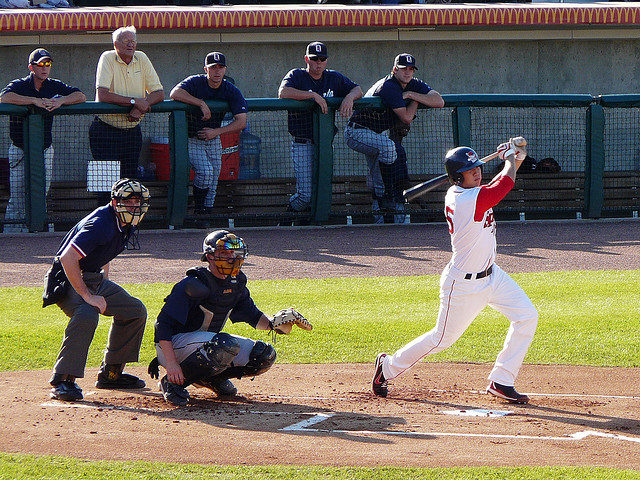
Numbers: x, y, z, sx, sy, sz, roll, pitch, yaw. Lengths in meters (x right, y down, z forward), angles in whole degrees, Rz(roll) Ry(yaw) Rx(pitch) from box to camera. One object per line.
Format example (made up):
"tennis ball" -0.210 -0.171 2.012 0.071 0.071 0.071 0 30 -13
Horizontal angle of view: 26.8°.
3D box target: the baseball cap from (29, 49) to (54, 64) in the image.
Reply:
"baseball cap" -3.818 -2.486 18.409 0.324 0.216 0.427 -6 9 -37

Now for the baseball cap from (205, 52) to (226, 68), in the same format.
"baseball cap" -1.434 -2.465 18.515 0.243 0.159 0.309 -2 9 -14

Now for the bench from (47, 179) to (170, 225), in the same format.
"bench" -3.251 -0.648 19.360 2.241 0.648 0.835 0 -10 -6

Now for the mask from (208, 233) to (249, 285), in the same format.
"mask" -0.940 0.139 13.950 0.423 0.436 0.489 2 -1 -30

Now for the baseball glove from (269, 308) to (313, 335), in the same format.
"baseball glove" -0.291 0.849 14.195 0.381 0.166 0.268 11 9 11

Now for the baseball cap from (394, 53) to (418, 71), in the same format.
"baseball cap" 1.202 -2.493 18.929 0.297 0.195 0.386 -1 11 -22

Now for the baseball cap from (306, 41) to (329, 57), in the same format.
"baseball cap" -0.032 -2.620 18.739 0.277 0.191 0.351 0 16 -14

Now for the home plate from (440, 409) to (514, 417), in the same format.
"home plate" 1.599 1.749 13.664 0.694 0.047 0.189 0 2 5

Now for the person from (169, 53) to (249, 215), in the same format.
"person" -1.507 -1.446 18.852 0.975 2.206 0.830 1 3 18
